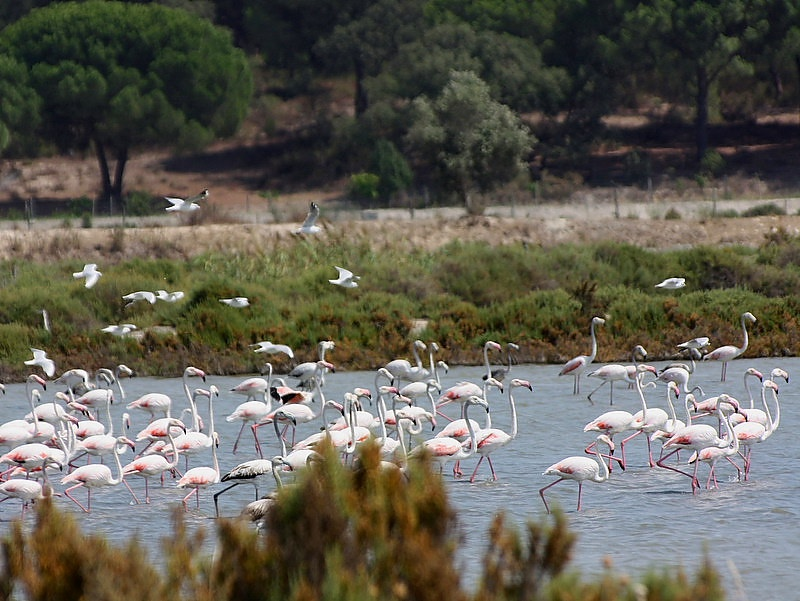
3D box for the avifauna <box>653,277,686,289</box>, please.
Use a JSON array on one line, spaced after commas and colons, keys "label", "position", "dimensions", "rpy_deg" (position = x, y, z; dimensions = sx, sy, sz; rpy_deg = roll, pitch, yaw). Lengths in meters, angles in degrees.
[{"label": "avifauna", "position": [12.843, -0.946, 94.447], "dimensions": [0.924, 0.397, 0.785], "rpy_deg": [-2, 1, 24]}]
